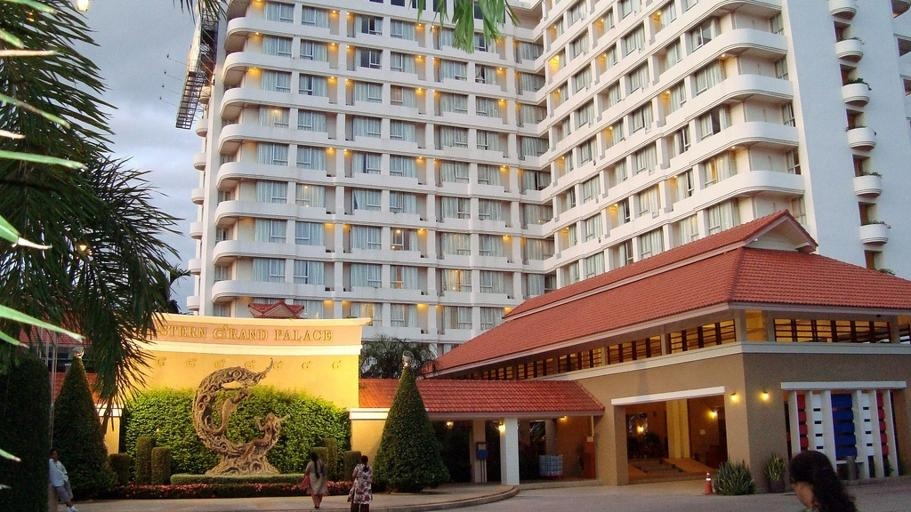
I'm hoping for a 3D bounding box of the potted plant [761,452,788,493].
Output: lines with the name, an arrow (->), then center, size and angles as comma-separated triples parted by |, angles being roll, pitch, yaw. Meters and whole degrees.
potted plant -> 14.506, 9.794, 37.616 | 1.032, 1.730, 0.561 | 2, -18, -5
